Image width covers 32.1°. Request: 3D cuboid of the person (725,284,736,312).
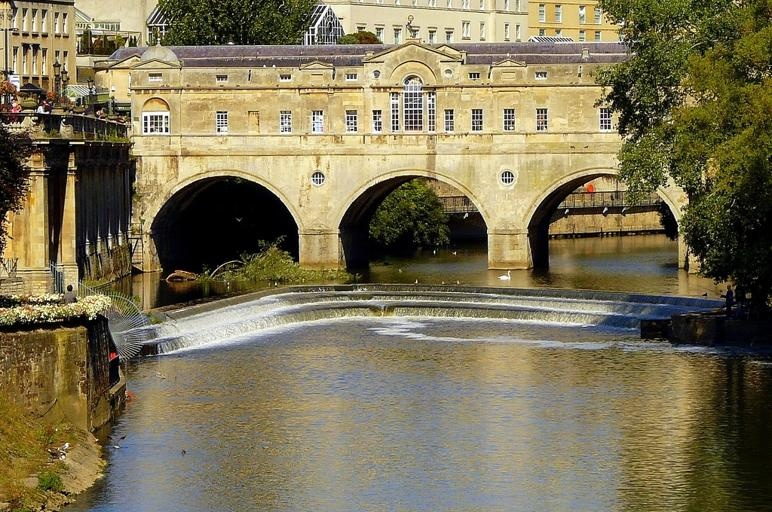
[{"bbox_3d":[17.414,2.111,66.888,0.435,1.311,2.545,3,12,14],"label":"person"}]
